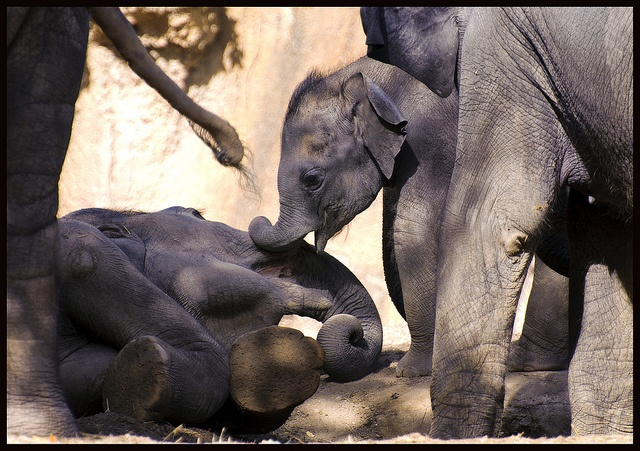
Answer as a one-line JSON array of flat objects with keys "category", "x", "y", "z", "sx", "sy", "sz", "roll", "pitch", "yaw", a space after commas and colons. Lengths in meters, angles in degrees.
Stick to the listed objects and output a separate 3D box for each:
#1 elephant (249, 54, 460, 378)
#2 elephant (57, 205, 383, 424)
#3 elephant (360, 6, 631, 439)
[{"category": "elephant", "x": 0.487, "y": -0.087, "z": 5.167, "sx": 1.681, "sy": 1.389, "sz": 0.939, "roll": -5, "pitch": 7, "yaw": -4}, {"category": "elephant", "x": -0.650, "y": 0.374, "z": 4.418, "sx": 1.800, "sy": 1.011, "sz": 0.739, "roll": -4, "pitch": -7, "yaw": -9}, {"category": "elephant", "x": 0.667, "y": -0.099, "z": 4.099, "sx": 1.115, "sy": 1.809, "sz": 1.502, "roll": 0, "pitch": -6, "yaw": 9}]
